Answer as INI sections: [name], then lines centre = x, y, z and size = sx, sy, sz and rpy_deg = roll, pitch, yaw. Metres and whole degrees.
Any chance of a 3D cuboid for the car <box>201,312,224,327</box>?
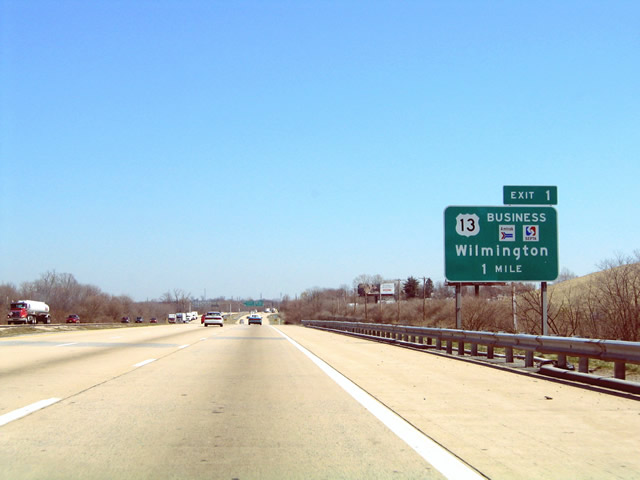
[car]
centre = -14.726, 11.220, 77.323
size = 1.888, 1.574, 4.543
rpy_deg = 0, -1, -6
